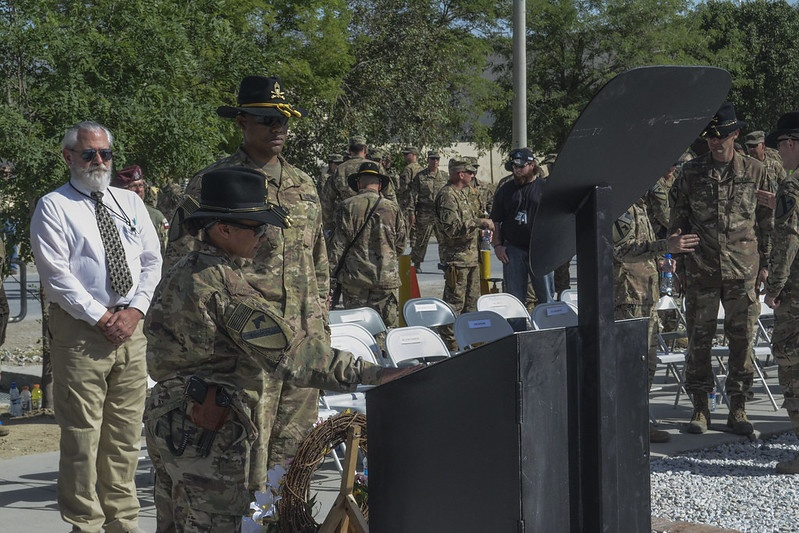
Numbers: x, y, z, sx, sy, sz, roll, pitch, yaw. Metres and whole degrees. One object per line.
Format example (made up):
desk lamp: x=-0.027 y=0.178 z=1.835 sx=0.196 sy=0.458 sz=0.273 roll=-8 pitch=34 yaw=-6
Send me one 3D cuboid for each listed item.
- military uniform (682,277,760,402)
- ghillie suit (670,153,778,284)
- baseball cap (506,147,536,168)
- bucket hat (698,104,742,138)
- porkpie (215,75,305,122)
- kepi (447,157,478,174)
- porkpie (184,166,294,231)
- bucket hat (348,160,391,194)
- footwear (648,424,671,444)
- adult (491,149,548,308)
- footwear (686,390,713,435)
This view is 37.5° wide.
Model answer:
military uniform: x=3.255 y=0.653 z=11.895 sx=0.721 sy=1.469 sz=0.443 roll=4 pitch=21 yaw=17
ghillie suit: x=3.205 y=-0.453 z=11.546 sx=1.260 sy=1.374 sz=0.762 roll=1 pitch=3 yaw=8
baseball cap: x=1.524 y=-1.336 z=14.303 sx=0.224 sy=0.198 sz=0.353 roll=4 pitch=4 yaw=43
bucket hat: x=3.164 y=-1.445 z=11.408 sx=0.360 sy=0.311 sz=0.684 roll=1 pitch=0 yaw=15
porkpie: x=-1.085 y=-1.377 z=9.414 sx=0.733 sy=0.332 sz=0.699 roll=-7 pitch=11 yaw=-32
kepi: x=0.861 y=-1.289 z=15.085 sx=0.340 sy=0.159 sz=0.223 roll=-6 pitch=13 yaw=-23
porkpie: x=-1.173 y=-0.506 z=8.270 sx=0.542 sy=0.293 sz=0.470 roll=-1 pitch=8 yaw=2
bucket hat: x=-0.381 y=-1.078 z=14.164 sx=0.652 sy=0.293 sz=0.744 roll=1 pitch=-9 yaw=0
footwear: x=2.582 y=1.666 z=11.603 sx=0.193 sy=0.154 sz=0.313 roll=1 pitch=0 yaw=13
adult: x=1.607 y=-0.265 z=14.588 sx=0.882 sy=2.410 sz=0.635 roll=-4 pitch=26 yaw=5
footwear: x=3.031 y=1.467 z=11.892 sx=0.188 sy=0.362 sz=0.531 roll=-1 pitch=17 yaw=23
